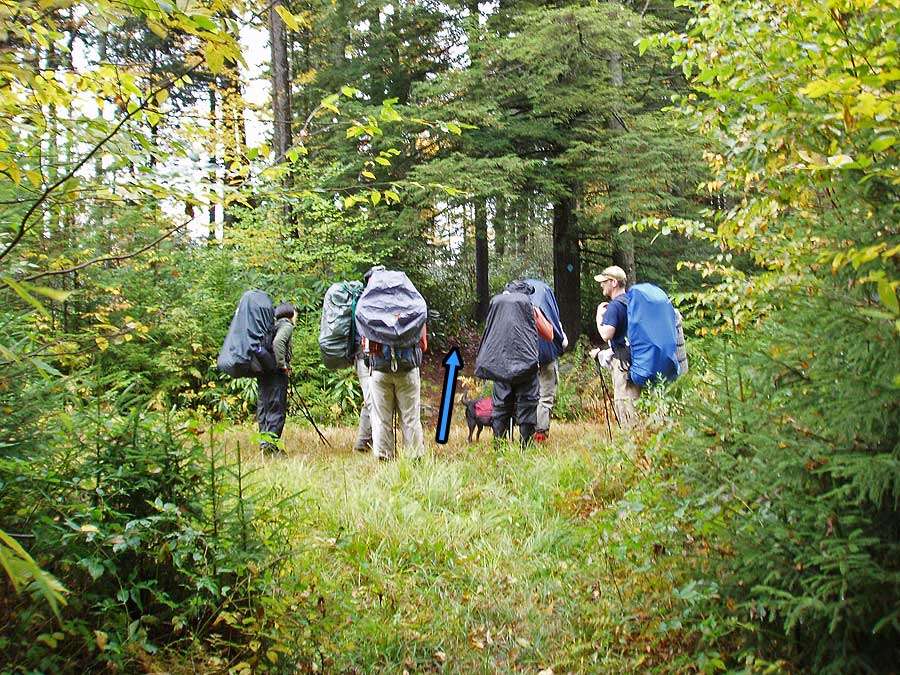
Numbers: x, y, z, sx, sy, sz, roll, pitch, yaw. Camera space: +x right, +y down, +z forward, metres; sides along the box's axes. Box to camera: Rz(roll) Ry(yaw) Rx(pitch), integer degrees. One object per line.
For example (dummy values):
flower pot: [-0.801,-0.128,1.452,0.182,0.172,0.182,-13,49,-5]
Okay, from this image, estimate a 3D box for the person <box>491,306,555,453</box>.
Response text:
person: [0.773,0.389,8.999,0.536,1.677,0.472,0,6,3]
